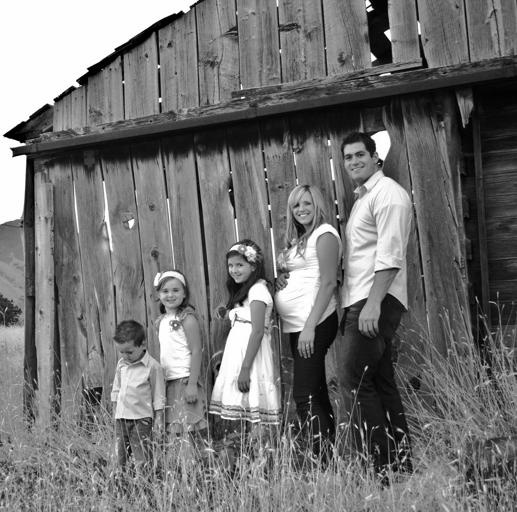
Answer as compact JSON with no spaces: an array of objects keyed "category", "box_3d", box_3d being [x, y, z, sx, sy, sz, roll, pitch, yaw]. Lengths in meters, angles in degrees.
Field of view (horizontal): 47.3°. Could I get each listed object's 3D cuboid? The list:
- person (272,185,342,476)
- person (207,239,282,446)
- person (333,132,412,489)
[{"category":"person","box_3d":[0.329,0.371,3.519,0.411,1.593,0.696,-4,4,-4]},{"category":"person","box_3d":[-0.101,0.601,3.750,0.439,1.364,0.751,-3,4,1]},{"category":"person","box_3d":[0.639,0.213,3.266,0.436,1.855,0.709,-2,4,16]}]
